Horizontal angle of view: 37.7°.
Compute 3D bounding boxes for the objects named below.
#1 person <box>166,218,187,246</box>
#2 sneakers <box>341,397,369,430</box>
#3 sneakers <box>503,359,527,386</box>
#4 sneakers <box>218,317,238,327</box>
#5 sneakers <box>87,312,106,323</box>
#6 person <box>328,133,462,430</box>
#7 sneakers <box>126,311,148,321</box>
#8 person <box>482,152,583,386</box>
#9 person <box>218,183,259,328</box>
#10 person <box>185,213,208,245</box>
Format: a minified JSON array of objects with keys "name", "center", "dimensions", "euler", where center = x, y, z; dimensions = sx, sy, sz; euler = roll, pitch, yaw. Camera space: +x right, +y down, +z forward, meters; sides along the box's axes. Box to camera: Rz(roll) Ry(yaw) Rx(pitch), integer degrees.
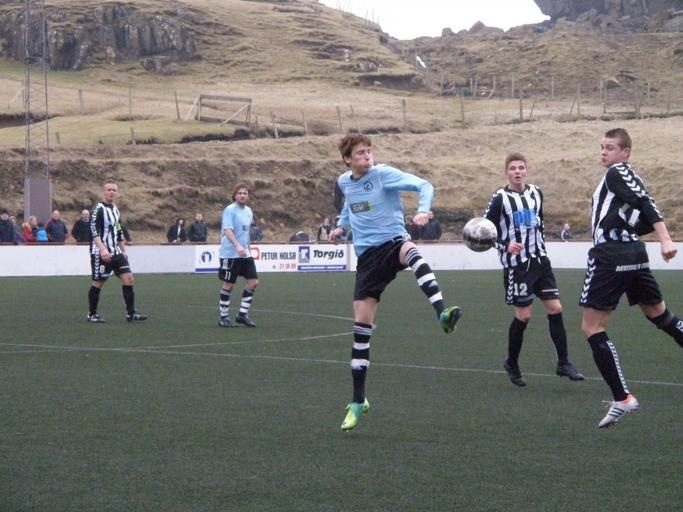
[{"name":"person","center":[-5.145,-0.714,31.176],"dimensions":[0.605,0.893,2.280],"euler":[-2,10,-10]},{"name":"sneakers","center":[0.145,1.808,11.227],"dimensions":[0.461,0.205,0.170],"euler":[-53,11,-34]},{"name":"sneakers","center":[2.189,1.497,12.773],"dimensions":[0.148,0.161,0.405],"euler":[-20,53,-15]},{"name":"sneakers","center":[-1.990,1.155,17.119],"dimensions":[0.147,0.108,0.269],"euler":[-2,1,-44]},{"name":"sneakers","center":[-4.324,1.097,17.430],"dimensions":[0.373,0.148,0.136],"euler":[2,3,20]},{"name":"person","center":[0.569,0.147,11.643],"dimensions":[1.101,3.046,1.348],"euler":[-1,10,-5]},{"name":"sneakers","center":[-3.593,1.084,17.485],"dimensions":[0.418,0.201,0.151],"euler":[-3,9,-4]},{"name":"person","center":[2.435,0.167,13.007],"dimensions":[1.143,2.923,1.157],"euler":[2,10,11]},{"name":"person","center":[-1.810,0.028,17.087],"dimensions":[0.653,2.439,0.700],"euler":[-1,10,-7]},{"name":"person","center":[-4.561,-0.870,31.330],"dimensions":[0.584,0.982,1.876],"euler":[-2,10,-10]}]
